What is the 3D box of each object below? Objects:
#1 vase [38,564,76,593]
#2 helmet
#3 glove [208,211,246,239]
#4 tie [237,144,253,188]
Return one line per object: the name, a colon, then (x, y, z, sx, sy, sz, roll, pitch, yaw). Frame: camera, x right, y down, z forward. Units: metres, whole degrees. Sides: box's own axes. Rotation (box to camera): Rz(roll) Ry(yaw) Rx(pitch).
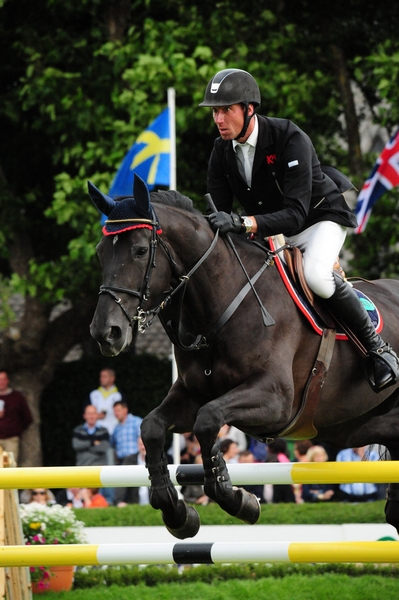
vase: (-0.923, 1.784, 6.077, 0.270, 0.153, 0.241, 3, -12, -10)
helmet: (0.160, -1.070, 4.832, 0.210, 0.140, 0.296, -1, 4, 43)
glove: (0.120, -0.368, 4.704, 0.149, 0.047, 0.110, 21, 32, 26)
tie: (0.234, -0.698, 4.911, 0.106, 0.168, 0.047, -3, 3, 27)
